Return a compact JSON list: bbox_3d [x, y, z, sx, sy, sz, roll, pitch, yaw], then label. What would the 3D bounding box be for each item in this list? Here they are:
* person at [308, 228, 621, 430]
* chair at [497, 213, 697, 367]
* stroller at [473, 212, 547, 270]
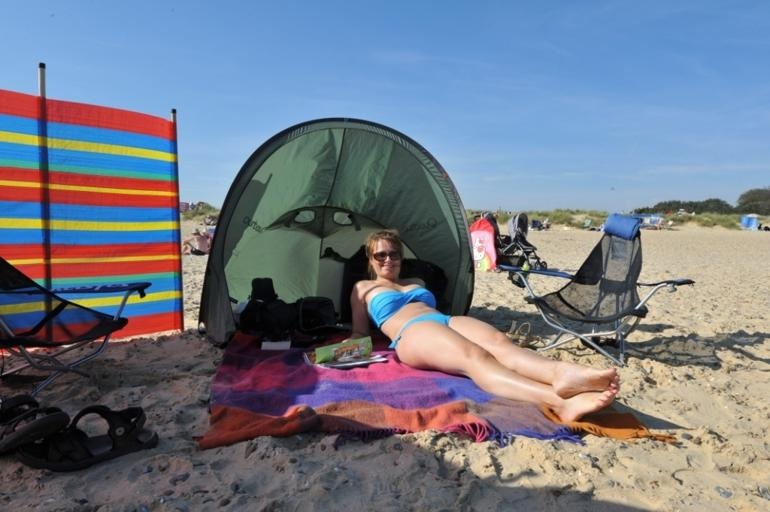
[{"bbox_3d":[0.623,0.464,4.314,0.603,1.238,2.369,-4,7,-44],"label":"person"},{"bbox_3d":[2.071,0.271,4.991,1.192,1.207,1.653,-6,9,-40],"label":"chair"},{"bbox_3d":[2.309,-0.235,9.935,1.102,1.091,1.660,-4,12,-44],"label":"stroller"}]
